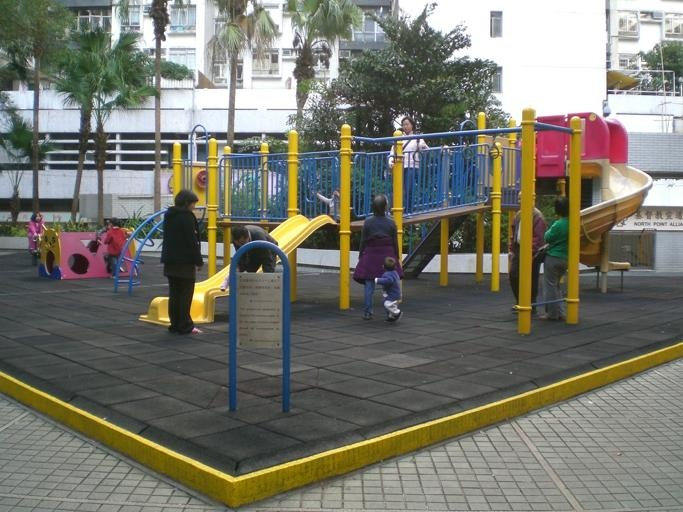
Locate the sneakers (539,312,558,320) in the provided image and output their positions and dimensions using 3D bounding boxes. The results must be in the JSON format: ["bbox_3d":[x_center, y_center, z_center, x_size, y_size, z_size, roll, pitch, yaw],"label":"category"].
[{"bbox_3d":[3.371,1.019,13.752,0.294,0.130,0.100,9,13,43],"label":"sneakers"}]

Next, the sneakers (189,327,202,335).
[{"bbox_3d":[-2.235,1.159,12.691,0.190,0.085,0.072,-4,-3,43],"label":"sneakers"}]

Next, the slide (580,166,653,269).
[{"bbox_3d":[5.789,-0.889,17.776,1.412,2.206,2.917,2,7,19],"label":"slide"}]

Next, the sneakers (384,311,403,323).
[{"bbox_3d":[0.823,1.022,13.653,0.116,0.139,0.314,-6,-4,-32],"label":"sneakers"}]

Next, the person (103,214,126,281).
[{"bbox_3d":[-5.328,-0.157,19.583,0.483,1.358,1.205,-2,7,-16],"label":"person"}]

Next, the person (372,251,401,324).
[{"bbox_3d":[0.754,0.546,13.739,0.406,1.049,0.664,0,6,3],"label":"person"}]

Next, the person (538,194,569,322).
[{"bbox_3d":[3.468,0.087,13.554,0.379,1.962,0.671,1,7,13],"label":"person"}]

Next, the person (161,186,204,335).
[{"bbox_3d":[-2.406,0.104,12.526,0.608,2.164,0.666,-1,6,-6],"label":"person"}]

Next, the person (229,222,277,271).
[{"bbox_3d":[-1.350,-0.092,12.845,0.629,0.774,1.221,0,6,-2],"label":"person"}]

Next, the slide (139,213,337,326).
[{"bbox_3d":[-1.142,0.030,14.544,2.939,1.112,0.661,-10,0,-33],"label":"slide"}]
